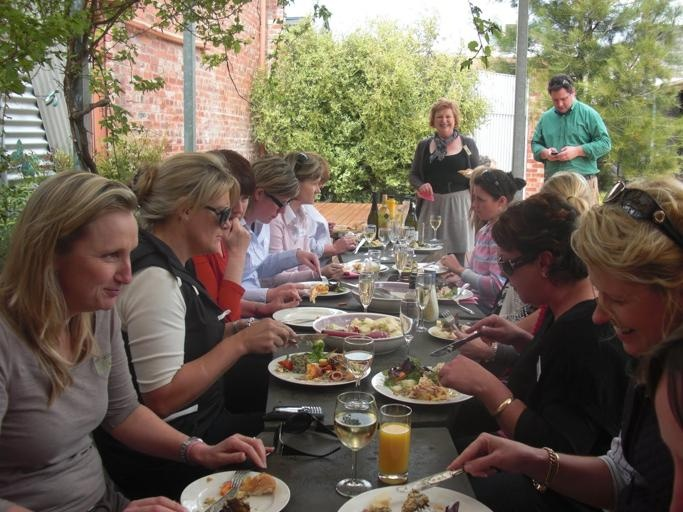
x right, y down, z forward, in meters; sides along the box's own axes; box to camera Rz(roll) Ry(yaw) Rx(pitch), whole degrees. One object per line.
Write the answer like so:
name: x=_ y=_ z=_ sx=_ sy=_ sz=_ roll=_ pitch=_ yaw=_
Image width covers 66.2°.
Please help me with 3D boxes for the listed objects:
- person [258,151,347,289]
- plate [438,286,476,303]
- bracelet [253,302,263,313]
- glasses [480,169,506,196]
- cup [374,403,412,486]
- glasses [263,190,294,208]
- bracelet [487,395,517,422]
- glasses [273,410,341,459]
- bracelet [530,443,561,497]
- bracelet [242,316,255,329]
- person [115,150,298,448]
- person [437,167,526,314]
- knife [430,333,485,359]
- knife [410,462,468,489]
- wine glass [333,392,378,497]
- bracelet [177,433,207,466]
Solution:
person: x=-0.373 y=-0.300 z=4.599 sx=0.780 sy=1.118 sz=0.904 roll=-12 pitch=17 yaw=-38
plate: x=0.740 y=0.253 z=3.379 sx=0.173 sy=0.027 sz=0.112 roll=-1 pitch=15 yaw=-25
bracelet: x=-0.484 y=0.299 z=3.079 sx=0.049 sy=0.052 sz=0.053 roll=-25 pitch=-41 yaw=24
glasses: x=1.111 y=-0.545 z=3.897 sx=0.165 sy=0.204 sz=0.149 roll=1 pitch=21 yaw=18
cup: x=0.151 y=0.560 z=1.521 sx=0.096 sy=0.181 sz=0.078 roll=-1 pitch=7 yaw=3
glasses: x=-0.449 y=-0.402 z=3.660 sx=0.035 sy=0.128 sz=0.126 roll=-42 pitch=-16 yaw=21
bracelet: x=0.542 y=0.517 z=1.771 sx=0.024 sy=0.066 sz=0.057 roll=41 pitch=17 yaw=3
glasses: x=-0.094 y=0.593 z=1.668 sx=0.193 sy=0.071 sz=0.150 roll=21 pitch=23 yaw=28
bracelet: x=0.605 y=0.628 z=1.557 sx=0.047 sy=0.098 sz=0.117 roll=19 pitch=22 yaw=7
bracelet: x=-0.419 y=0.303 z=2.412 sx=0.060 sy=0.070 sz=0.056 roll=2 pitch=1 yaw=2
person: x=-0.590 y=0.205 z=2.290 sx=0.697 sy=1.208 sz=0.847 roll=-1 pitch=7 yaw=-17
person: x=1.046 y=0.109 z=3.975 sx=0.637 sy=1.543 sz=0.584 roll=-3 pitch=23 yaw=-1
knife: x=0.526 y=0.408 z=2.363 sx=0.255 sy=0.033 sz=0.021 roll=-25 pitch=12 yaw=-38
knife: x=0.278 y=0.630 z=1.495 sx=0.212 sy=0.035 sz=0.016 roll=-18 pitch=13 yaw=-7
wine glass: x=0.040 y=0.552 z=1.543 sx=0.128 sy=0.267 sz=0.128 roll=1 pitch=0 yaw=15
bracelet: x=-0.495 y=0.646 z=1.749 sx=0.029 sy=0.082 sz=0.083 roll=10 pitch=-21 yaw=28
